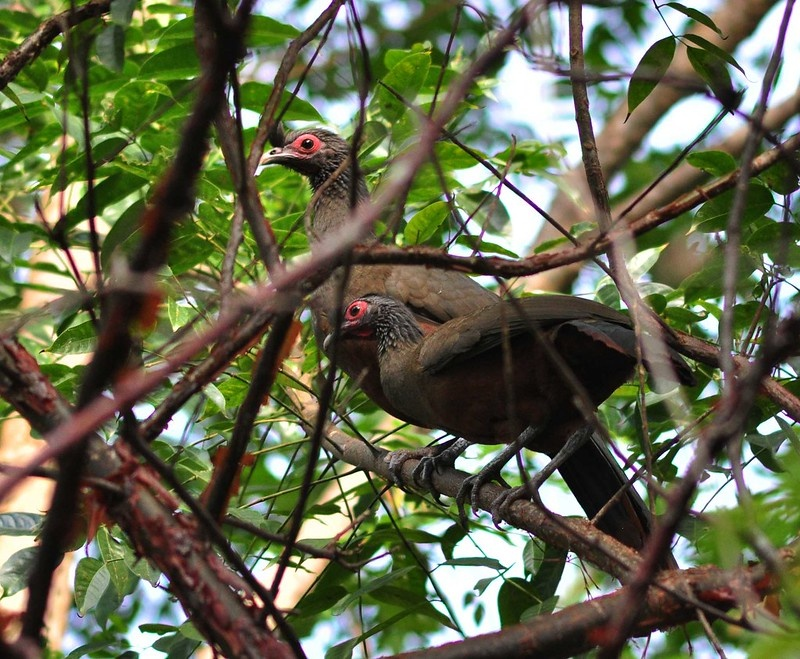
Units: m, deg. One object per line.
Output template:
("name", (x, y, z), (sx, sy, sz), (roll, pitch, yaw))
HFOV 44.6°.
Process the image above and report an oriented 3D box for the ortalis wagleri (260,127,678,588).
("ortalis wagleri", (0.336, 0.345, 4.394), (1.416, 1.141, 0.435), (8, -49, -17))
